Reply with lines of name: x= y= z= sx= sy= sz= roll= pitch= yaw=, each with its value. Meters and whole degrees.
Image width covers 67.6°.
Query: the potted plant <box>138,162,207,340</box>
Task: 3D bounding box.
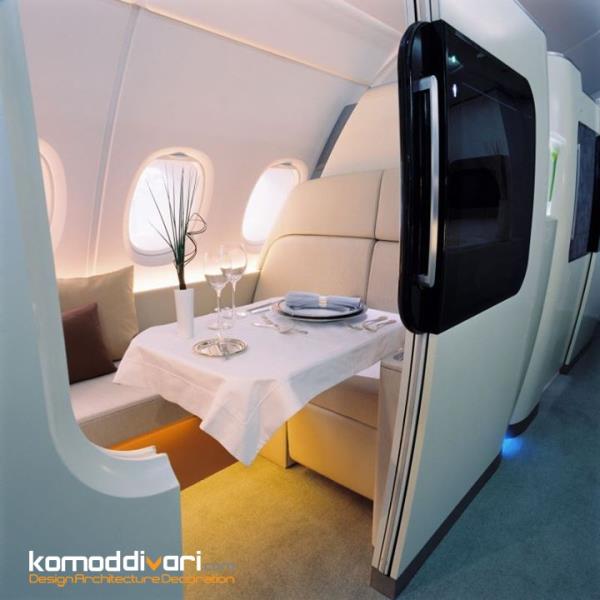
potted plant: x=-0.338 y=-0.128 z=1.279 sx=0.142 sy=0.456 sz=0.120 roll=-9 pitch=9 yaw=-35

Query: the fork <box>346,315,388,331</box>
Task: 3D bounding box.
fork: x=0.214 y=0.060 z=1.383 sx=0.047 sy=0.015 sz=0.154 roll=11 pitch=19 yaw=34

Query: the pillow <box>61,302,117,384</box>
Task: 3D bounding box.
pillow: x=-0.831 y=0.164 z=1.765 sx=0.071 sy=0.263 sz=0.207 roll=-9 pitch=18 yaw=26

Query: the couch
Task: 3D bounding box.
couch: x=-0.046 y=-0.017 z=1.949 sx=1.265 sy=1.108 sz=1.291 roll=10 pitch=16 yaw=40

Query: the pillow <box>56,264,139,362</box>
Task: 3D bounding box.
pillow: x=-0.832 y=0.053 z=1.853 sx=0.268 sy=0.283 sz=0.140 roll=-20 pitch=-13 yaw=-16
